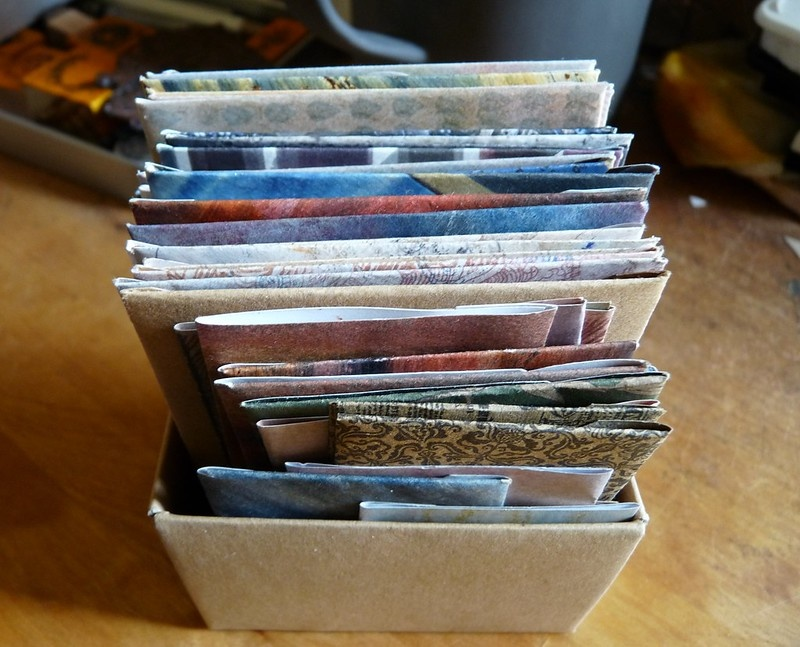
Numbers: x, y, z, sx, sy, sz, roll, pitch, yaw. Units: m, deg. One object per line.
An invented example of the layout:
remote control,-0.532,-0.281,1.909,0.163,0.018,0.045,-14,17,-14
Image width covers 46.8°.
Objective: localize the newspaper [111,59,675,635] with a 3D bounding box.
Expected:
newspaper,-0.008,0.031,1.056,0.571,0.559,0.536,2,47,3
